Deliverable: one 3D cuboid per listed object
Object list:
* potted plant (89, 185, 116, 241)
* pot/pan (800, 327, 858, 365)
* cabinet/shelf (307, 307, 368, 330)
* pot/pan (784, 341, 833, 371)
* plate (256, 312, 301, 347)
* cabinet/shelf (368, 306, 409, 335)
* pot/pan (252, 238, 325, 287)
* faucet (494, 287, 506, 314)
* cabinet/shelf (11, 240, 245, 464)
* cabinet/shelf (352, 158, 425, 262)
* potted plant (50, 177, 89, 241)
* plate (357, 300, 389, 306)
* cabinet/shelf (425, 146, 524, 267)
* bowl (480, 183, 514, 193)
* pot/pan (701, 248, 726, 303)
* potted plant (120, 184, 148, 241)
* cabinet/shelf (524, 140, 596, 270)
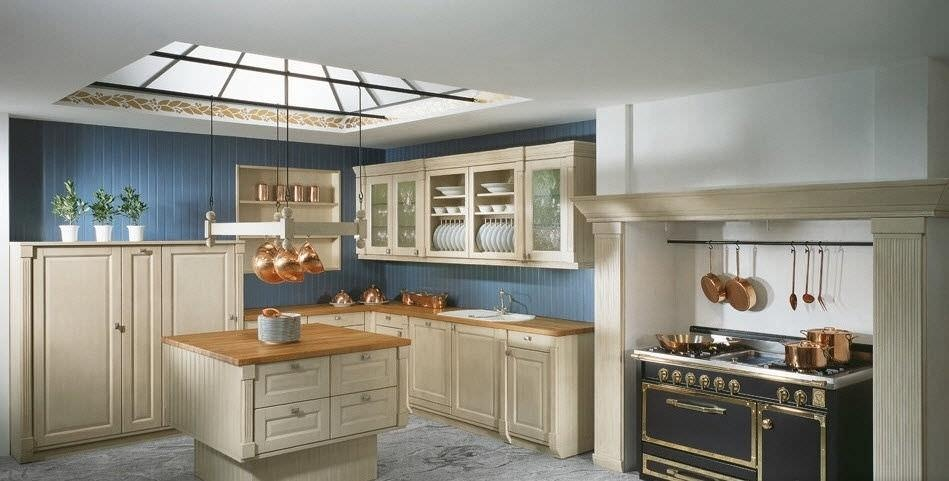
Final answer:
[{"bbox_3d":[-4.688,-0.332,7.743,0.319,0.705,0.626,-2,2,-31],"label":"potted plant"},{"bbox_3d":[3.620,1.032,6.280,0.583,0.325,0.362,1,3,44],"label":"pot/pan"},{"bbox_3d":[-1.949,1.162,8.695,0.840,0.284,0.106,-1,1,-26],"label":"cabinet/shelf"},{"bbox_3d":[3.317,1.153,6.200,0.431,0.239,0.377,5,-6,-13],"label":"pot/pan"},{"bbox_3d":[-2.154,0.969,6.735,0.398,0.199,0.359,1,-1,16],"label":"plate"},{"bbox_3d":[-1.198,1.132,8.625,0.178,0.354,0.453,2,-1,-43],"label":"cabinet/shelf"},{"bbox_3d":[-1.934,0.213,6.288,0.560,0.449,0.548,-1,1,-30],"label":"pot/pan"},{"bbox_3d":[0.349,0.824,8.373,0.101,0.332,0.186,-2,2,-31],"label":"faucet"},{"bbox_3d":[-4.231,1.390,7.252,3.230,2.455,1.151,0,-1,-32],"label":"cabinet/shelf"},{"bbox_3d":[-1.185,-0.413,8.688,1.839,1.601,0.518,-2,-3,45],"label":"cabinet/shelf"},{"bbox_3d":[-5.016,-0.371,7.585,0.364,0.785,0.582,-2,2,-32],"label":"potted plant"},{"bbox_3d":[-1.505,0.927,9.086,0.481,0.059,0.455,-1,1,-8],"label":"plate"},{"bbox_3d":[0.047,-0.404,8.091,1.672,1.211,0.478,0,-1,33],"label":"cabinet/shelf"},{"bbox_3d":[0.276,-0.676,7.956,0.466,0.138,0.088,0,2,37],"label":"bowl"},{"bbox_3d":[2.687,0.397,6.937,0.261,0.667,0.116,0,2,26],"label":"pot/pan"},{"bbox_3d":[-4.363,-0.344,7.860,0.322,0.730,0.609,-2,2,-29],"label":"potted plant"},{"bbox_3d":[1.015,-0.416,7.441,0.863,1.497,0.325,-1,2,7],"label":"cabinet/shelf"}]
